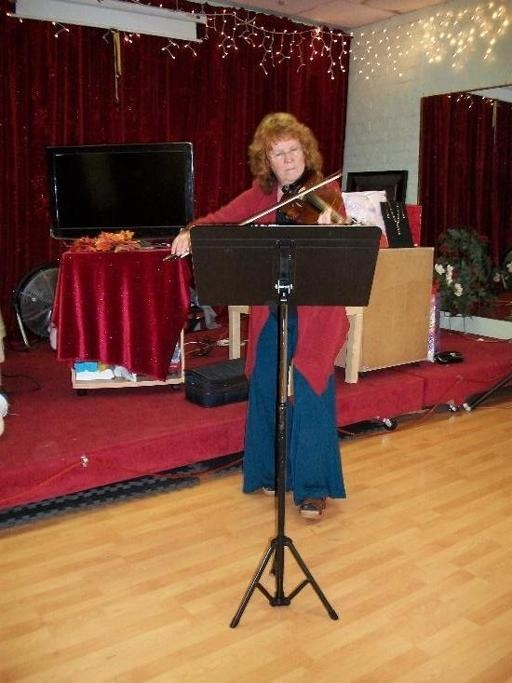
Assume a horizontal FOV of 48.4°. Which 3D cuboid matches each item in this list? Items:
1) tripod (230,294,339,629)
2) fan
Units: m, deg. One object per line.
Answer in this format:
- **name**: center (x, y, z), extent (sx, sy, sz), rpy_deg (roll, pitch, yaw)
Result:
- **tripod**: center (0.075, 0.263, 1.391), extent (0.276, 0.813, 0.234), rpy_deg (2, -9, -23)
- **fan**: center (-1.498, -0.260, 4.023), extent (0.314, 0.581, 0.408), rpy_deg (-6, 17, -29)
